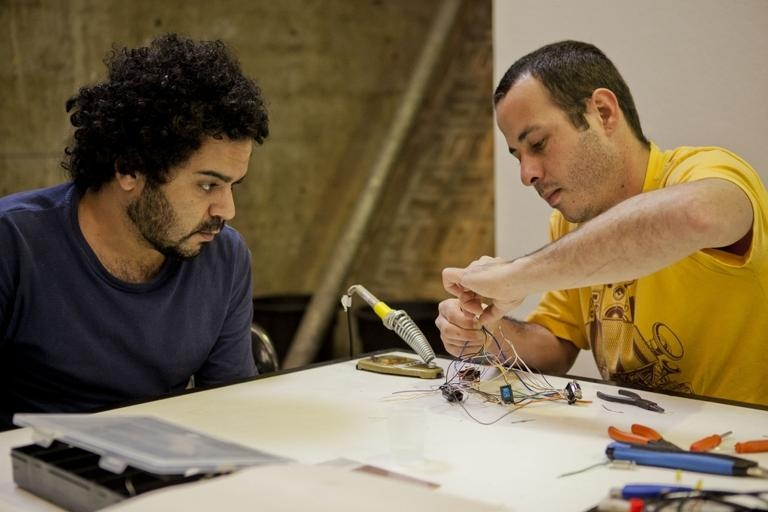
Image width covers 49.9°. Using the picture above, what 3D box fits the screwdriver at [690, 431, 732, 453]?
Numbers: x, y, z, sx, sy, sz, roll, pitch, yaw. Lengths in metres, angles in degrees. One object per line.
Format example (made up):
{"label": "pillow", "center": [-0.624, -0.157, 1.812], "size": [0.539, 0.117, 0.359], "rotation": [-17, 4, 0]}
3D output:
{"label": "screwdriver", "center": [0.855, 0.481, 2.161], "size": [0.163, 0.037, 0.058], "rotation": [-3, 15, -45]}
